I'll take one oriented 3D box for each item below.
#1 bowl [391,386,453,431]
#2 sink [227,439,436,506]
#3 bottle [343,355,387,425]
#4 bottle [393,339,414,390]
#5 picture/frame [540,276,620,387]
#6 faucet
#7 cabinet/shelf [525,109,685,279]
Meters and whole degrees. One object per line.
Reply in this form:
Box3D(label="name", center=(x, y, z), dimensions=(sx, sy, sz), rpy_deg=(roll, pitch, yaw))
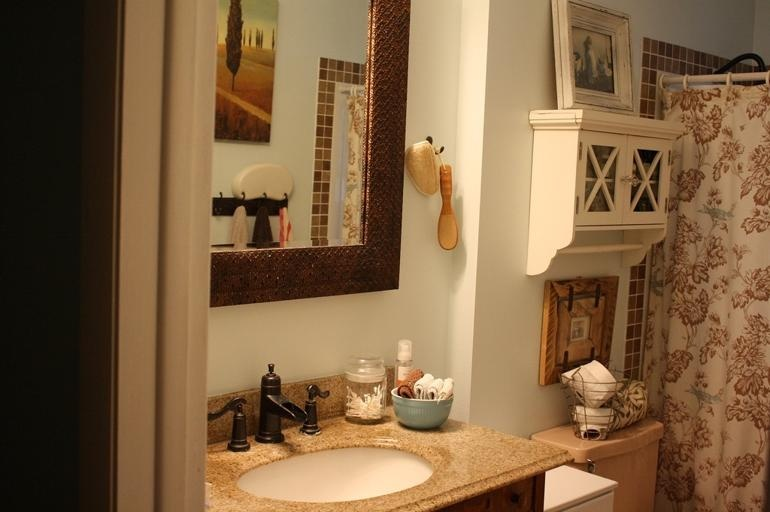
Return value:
Box3D(label="bowl", center=(0.101, 0.458, 1.855), dimensions=(0.174, 0.103, 0.182), rpy_deg=(5, 2, 0))
Box3D(label="sink", center=(-0.131, 0.594, 1.625), dimensions=(0.502, 0.116, 0.169), rpy_deg=(-1, 9, -22))
Box3D(label="bottle", center=(-0.055, 0.397, 1.938), dimensions=(0.154, 0.227, 0.156), rpy_deg=(0, 4, 0))
Box3D(label="bottle", center=(0.058, 0.345, 1.947), dimensions=(0.061, 0.185, 0.066), rpy_deg=(3, 27, -2))
Box3D(label="picture/frame", center=(0.749, 0.288, 2.413), dimensions=(0.028, 0.385, 0.400), rpy_deg=(4, 3, 42))
Box3D(label="faucet", center=(-0.277, 0.402, 1.670), dimensions=(0.156, 0.213, 0.072), rpy_deg=(5, 4, 34))
Box3D(label="cabinet/shelf", center=(0.837, -0.229, 2.330), dimensions=(0.588, 0.587, 0.221), rpy_deg=(-4, 10, -31))
